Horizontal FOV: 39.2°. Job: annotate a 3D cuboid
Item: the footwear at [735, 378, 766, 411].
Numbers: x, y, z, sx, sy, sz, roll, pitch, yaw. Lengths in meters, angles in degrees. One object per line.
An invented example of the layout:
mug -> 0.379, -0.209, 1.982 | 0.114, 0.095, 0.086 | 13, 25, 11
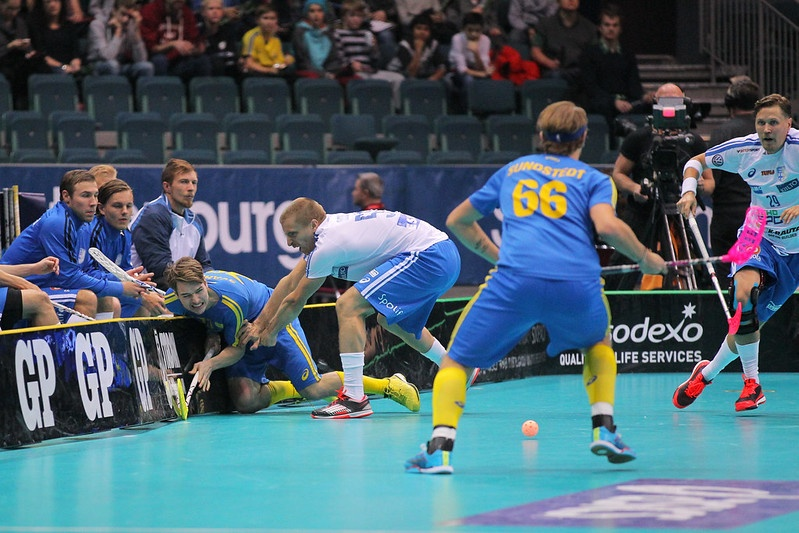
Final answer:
footwear -> 3.253, 1.201, 10.406 | 0.155, 0.209, 0.437 | -13, -9, 25

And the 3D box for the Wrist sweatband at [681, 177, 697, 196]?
Wrist sweatband -> 2.705, -0.732, 10.418 | 0.157, 0.170, 0.155 | -1, 4, 6

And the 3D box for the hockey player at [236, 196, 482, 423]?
hockey player -> -0.264, 0.391, 10.802 | 2.774, 2.097, 1.306 | 0, -13, -6

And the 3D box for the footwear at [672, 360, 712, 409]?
footwear -> 2.804, 1.039, 10.599 | 0.232, 0.206, 0.607 | -11, 31, 47

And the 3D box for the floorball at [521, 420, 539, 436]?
floorball -> 1.117, 1.373, 9.574 | 0.107, 0.112, 0.131 | -5, 8, -31

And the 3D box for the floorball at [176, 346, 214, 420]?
floorball -> -1.871, 1.064, 10.276 | 0.265, 0.605, 0.256 | 9, -2, -10

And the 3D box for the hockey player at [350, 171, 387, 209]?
hockey player -> -0.353, -0.861, 13.551 | 0.380, 0.537, 0.355 | 3, -1, 27

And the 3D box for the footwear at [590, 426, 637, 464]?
footwear -> 1.597, 1.363, 8.503 | 0.428, 0.198, 0.180 | 29, -28, -36

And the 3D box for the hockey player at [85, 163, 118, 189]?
hockey player -> -3.027, -0.945, 11.485 | 0.295, 0.295, 0.252 | -9, -5, 16

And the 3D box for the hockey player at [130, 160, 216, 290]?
hockey player -> -2.283, -0.397, 11.290 | 0.565, 1.523, 0.974 | 1, -2, -2

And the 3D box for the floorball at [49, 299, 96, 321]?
floorball -> -3.106, 0.411, 10.658 | 0.376, 0.188, 0.646 | -2, 0, -17

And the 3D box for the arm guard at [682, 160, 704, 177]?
arm guard -> 2.741, -0.937, 10.555 | 0.188, 0.146, 0.180 | -8, 14, -43
